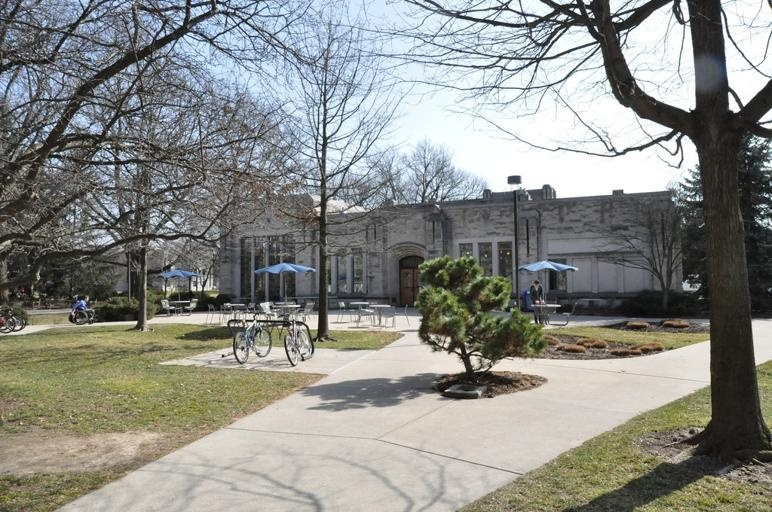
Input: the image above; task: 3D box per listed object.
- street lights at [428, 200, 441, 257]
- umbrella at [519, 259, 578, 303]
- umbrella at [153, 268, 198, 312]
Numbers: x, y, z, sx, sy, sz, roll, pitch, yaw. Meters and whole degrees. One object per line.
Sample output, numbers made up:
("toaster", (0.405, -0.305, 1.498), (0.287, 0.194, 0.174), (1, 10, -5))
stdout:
("street lights", (2.724, -1.512, 37.374), (0.673, 3.008, 0.355), (1, 6, 34))
("umbrella", (7.465, 1.349, 29.720), (2.494, 2.040, 2.433), (-2, 2, -23))
("umbrella", (-14.448, 2.293, 44.908), (2.679, 2.482, 2.737), (3, -5, -28))
